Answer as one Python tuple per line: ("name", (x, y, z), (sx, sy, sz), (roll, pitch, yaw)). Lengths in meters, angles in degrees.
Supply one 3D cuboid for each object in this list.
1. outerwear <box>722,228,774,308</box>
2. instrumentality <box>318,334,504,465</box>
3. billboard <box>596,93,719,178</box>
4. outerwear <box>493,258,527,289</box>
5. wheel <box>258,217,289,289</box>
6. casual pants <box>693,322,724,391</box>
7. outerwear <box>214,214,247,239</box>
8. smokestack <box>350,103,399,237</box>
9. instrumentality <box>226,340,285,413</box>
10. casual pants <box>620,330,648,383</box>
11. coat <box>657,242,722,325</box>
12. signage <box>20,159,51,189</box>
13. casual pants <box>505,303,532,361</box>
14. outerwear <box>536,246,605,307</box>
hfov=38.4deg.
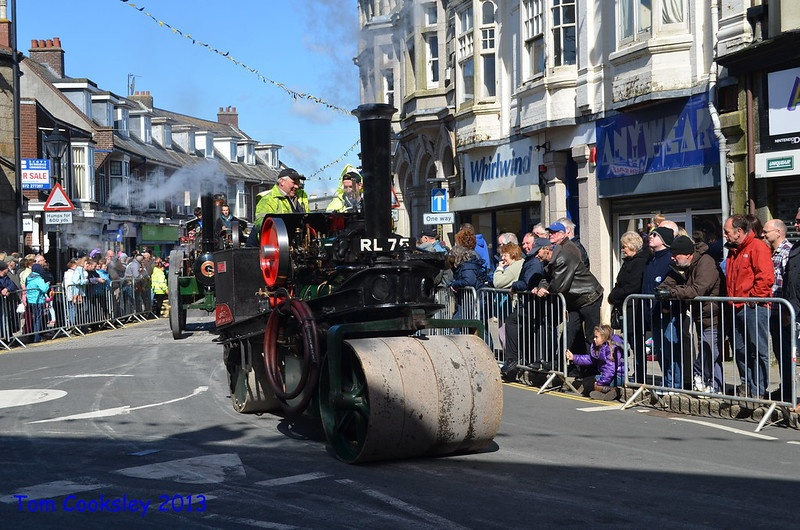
("outerwear", (5.131, 0.116, 16.512), (0.734, 1.250, 1.220), (3, -3, -7))
("instrumentality", (0.061, 1.601, 14.565), (1.971, 1.509, 1.411), (0, 8, -24))
("billboard", (5.146, -2.499, 22.563), (0.198, 1.824, 3.008), (-8, 15, -29))
("outerwear", (1.816, 0.179, 19.369), (0.457, 0.187, 0.469), (-18, 28, 25))
("wheel", (-1.658, -0.171, 15.057), (0.425, 1.057, 0.927), (0, -1, -20))
("casual pants", (4.385, 1.324, 16.308), (0.401, 0.843, 0.529), (3, 13, 15))
("outerwear", (-3.075, -0.686, 20.452), (0.382, 0.214, 0.545), (5, -39, -10))
("smokestack", (-0.329, -1.195, 14.542), (0.427, 1.644, 0.443), (-1, 12, -3))
("instrumentality", (-1.974, 1.520, 15.799), (0.585, 1.145, 0.962), (-2, 7, -27))
("casual pants", (3.460, 1.369, 16.986), (0.054, 1.012, 0.752), (0, -2, -23))
("coat", (4.235, 0.230, 16.630), (0.887, 1.212, 0.835), (3, 13, 16))
("signage", (-9.683, -2.393, 30.319), (1.024, 0.940, 0.120), (2, -33, -16))
("casual pants", (1.873, 1.119, 18.506), (0.371, 0.925, 0.371), (0, 12, 5))
("outerwear", (2.685, 0.241, 18.170), (0.983, 0.960, 0.746), (0, -1, 5))
